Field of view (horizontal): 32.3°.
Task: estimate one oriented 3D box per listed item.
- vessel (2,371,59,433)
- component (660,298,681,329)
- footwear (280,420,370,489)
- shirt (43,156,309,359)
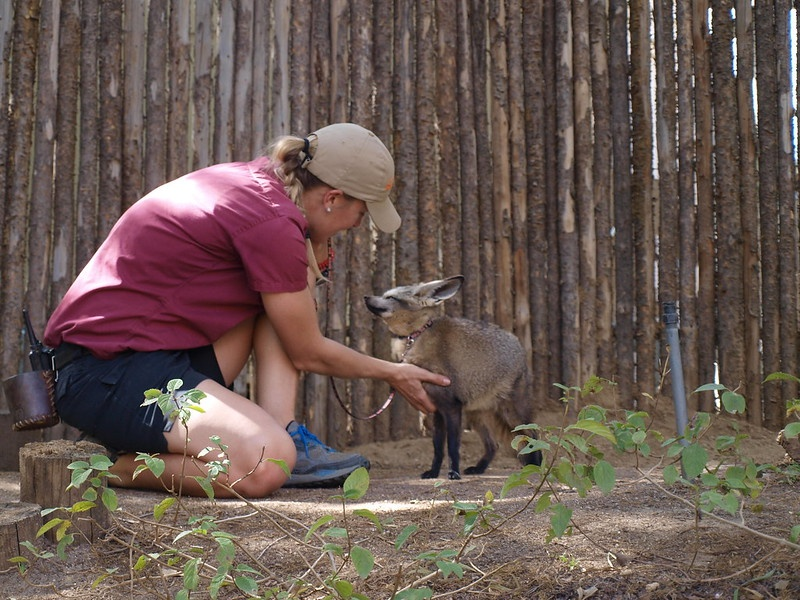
[{"bbox_3d":[-2.305,0.661,8.901,0.373,0.382,0.338,-20,-11,-16],"label":"vessel"},{"bbox_3d":[1.796,0.103,9.162,0.084,0.157,0.418,-1,2,9],"label":"component"},{"bbox_3d":[-0.615,1.020,9.317,0.818,0.405,0.305,0,9,19],"label":"footwear"},{"bbox_3d":[-1.486,-0.237,8.976,1.543,0.981,1.098,-8,16,-14],"label":"shirt"}]
